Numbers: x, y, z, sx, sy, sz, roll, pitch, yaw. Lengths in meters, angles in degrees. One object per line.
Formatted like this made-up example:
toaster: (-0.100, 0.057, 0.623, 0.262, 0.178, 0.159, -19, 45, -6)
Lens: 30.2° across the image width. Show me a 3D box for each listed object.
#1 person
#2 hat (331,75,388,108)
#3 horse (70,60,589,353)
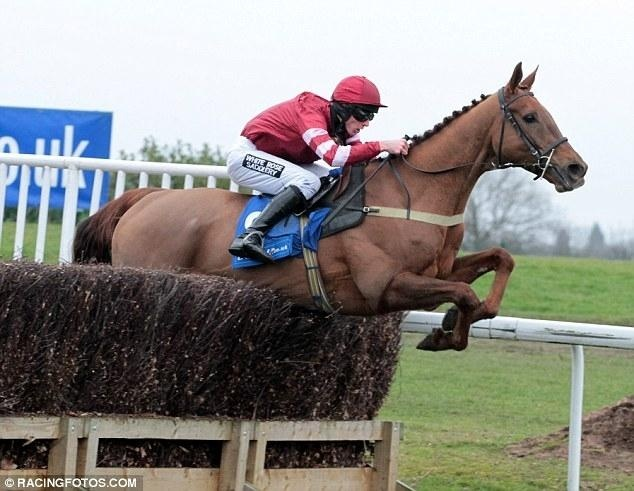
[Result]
person: (-0.005, -0.467, 6.899, 1.173, 0.959, 0.531, 2, 7, 19)
hat: (0.266, -0.902, 6.844, 0.343, 0.167, 0.244, 11, 10, 7)
horse: (-0.092, 0.003, 7.071, 3.135, 1.651, 0.779, 0, 0, 23)
